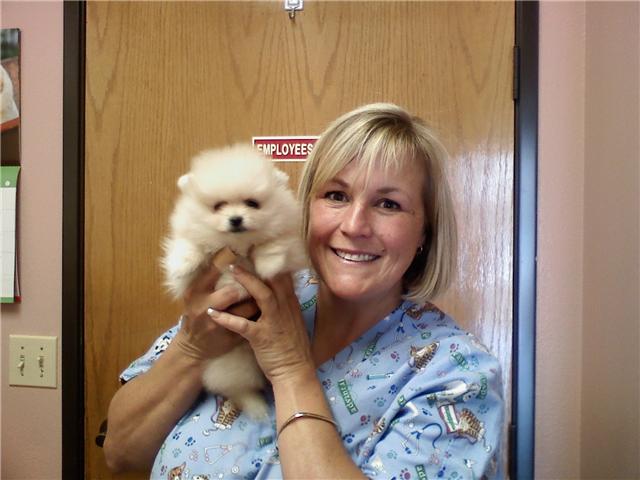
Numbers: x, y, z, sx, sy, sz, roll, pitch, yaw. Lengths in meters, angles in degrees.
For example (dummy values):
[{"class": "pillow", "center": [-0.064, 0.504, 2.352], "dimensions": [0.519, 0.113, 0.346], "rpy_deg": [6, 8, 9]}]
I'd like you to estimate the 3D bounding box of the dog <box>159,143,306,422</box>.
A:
[{"class": "dog", "center": [-0.374, -0.010, 2.807], "dimensions": [0.548, 0.761, 0.956], "rpy_deg": [-3, 3, -11]}]
